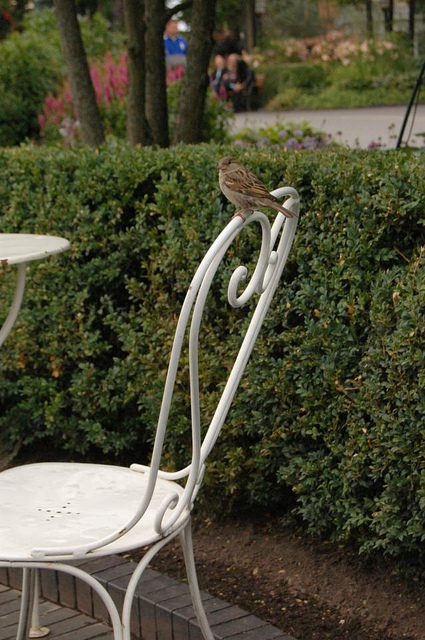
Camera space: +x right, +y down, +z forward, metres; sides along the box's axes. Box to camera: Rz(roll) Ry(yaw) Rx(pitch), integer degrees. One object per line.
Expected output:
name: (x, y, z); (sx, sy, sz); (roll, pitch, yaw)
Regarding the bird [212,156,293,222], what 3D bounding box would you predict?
bird: (0.142, -0.435, 3.044); (0.344, 0.192, 0.116); (12, 16, 41)
